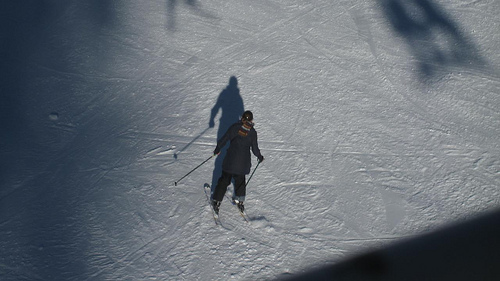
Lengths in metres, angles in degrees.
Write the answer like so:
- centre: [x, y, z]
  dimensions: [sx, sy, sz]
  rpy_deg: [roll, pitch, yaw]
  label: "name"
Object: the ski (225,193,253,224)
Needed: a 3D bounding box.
- centre: [-0.273, 1.727, 13.149]
  dimensions: [1.011, 0.111, 0.117]
  rpy_deg: [43, 66, -3]
  label: "ski"
